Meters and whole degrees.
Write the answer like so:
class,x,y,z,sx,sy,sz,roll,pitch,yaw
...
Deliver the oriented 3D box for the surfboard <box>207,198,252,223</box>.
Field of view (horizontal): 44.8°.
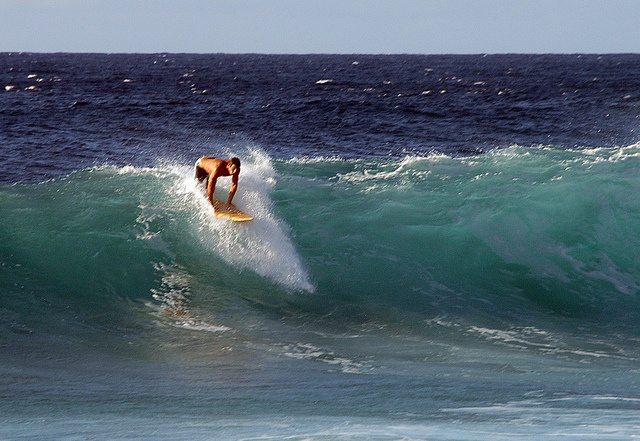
class,x,y,z,sx,sy,sz,roll,pitch,yaw
surfboard,-2.602,-0.250,21.964,1.780,0.133,0.404,13,34,28
